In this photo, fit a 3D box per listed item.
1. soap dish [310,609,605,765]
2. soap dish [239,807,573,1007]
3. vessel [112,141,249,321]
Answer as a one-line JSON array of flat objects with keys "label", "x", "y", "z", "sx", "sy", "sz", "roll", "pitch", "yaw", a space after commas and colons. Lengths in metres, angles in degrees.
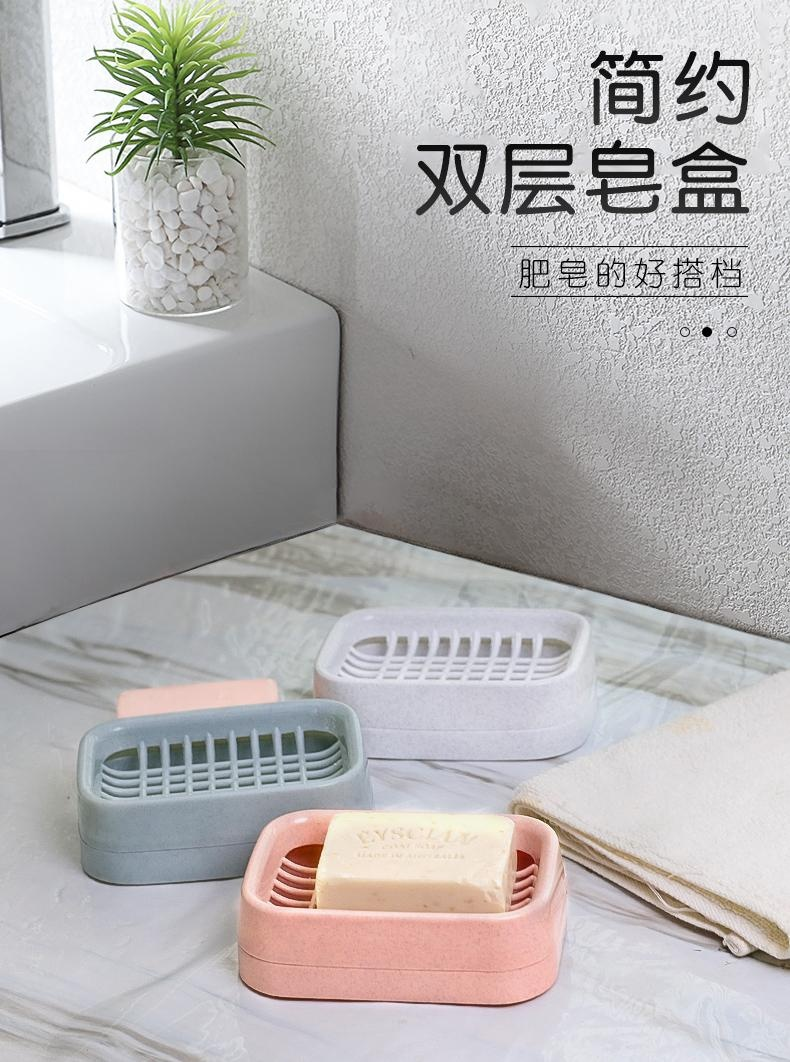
[{"label": "soap dish", "x": 0.039, "y": 0.086, "z": 0.600, "sx": 0.131, "sy": 0.039, "sz": 0.092, "roll": 0, "pitch": 18, "yaw": 9}, {"label": "soap dish", "x": 0.001, "y": 0.145, "z": 0.402, "sx": 0.106, "sy": 0.028, "sz": 0.069, "roll": 1, "pitch": 27, "yaw": 4}, {"label": "vessel", "x": -0.150, "y": -0.259, "z": 0.877, "sx": 0.123, "sy": 0.129, "sz": 0.121, "roll": 20, "pitch": 36, "yaw": 29}]
